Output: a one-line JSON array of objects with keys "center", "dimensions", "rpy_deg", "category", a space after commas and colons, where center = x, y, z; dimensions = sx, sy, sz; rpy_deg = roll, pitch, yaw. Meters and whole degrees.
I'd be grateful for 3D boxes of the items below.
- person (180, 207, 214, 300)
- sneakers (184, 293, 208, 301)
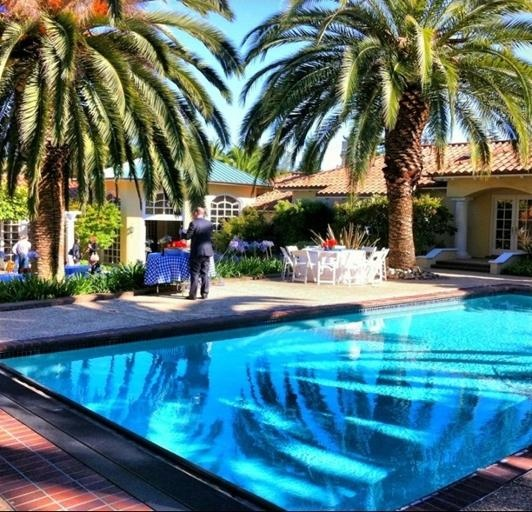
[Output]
[{"center": [-1.611, -0.093, 11.218], "dimensions": [0.650, 2.124, 1.009], "rpy_deg": [2, 5, -7], "category": "person"}, {"center": [-1.665, 0.934, 11.070], "dimensions": [0.555, 0.222, 0.176], "rpy_deg": [4, -4, -15], "category": "sneakers"}]
